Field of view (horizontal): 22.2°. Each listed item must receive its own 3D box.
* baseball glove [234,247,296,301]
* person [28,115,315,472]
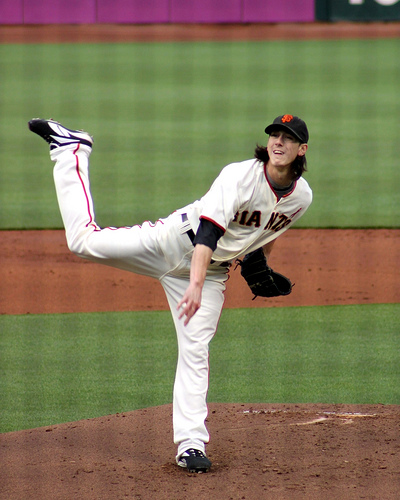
[{"bbox_3d":[0.406,0.157,6.538,0.247,0.406,0.208,-31,29,17],"label":"baseball glove"},{"bbox_3d":[-0.124,0.156,6.330,1.399,2.028,1.011,9,12,43],"label":"person"}]
